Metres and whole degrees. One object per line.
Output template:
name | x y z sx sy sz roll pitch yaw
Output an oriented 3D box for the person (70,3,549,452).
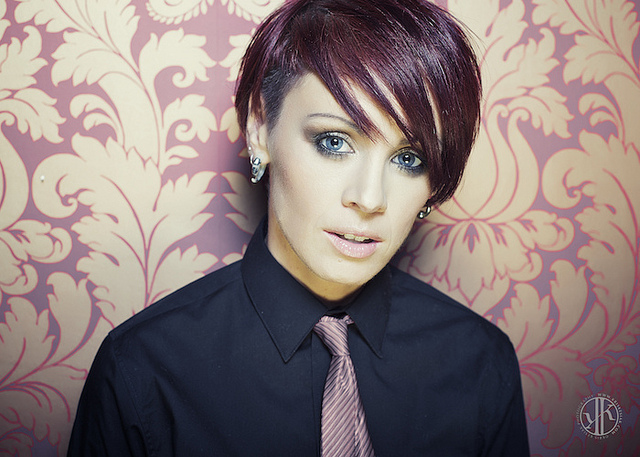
person | -0.099 -0.026 1.751 1.263 1.375 0.689 5 1 -13
